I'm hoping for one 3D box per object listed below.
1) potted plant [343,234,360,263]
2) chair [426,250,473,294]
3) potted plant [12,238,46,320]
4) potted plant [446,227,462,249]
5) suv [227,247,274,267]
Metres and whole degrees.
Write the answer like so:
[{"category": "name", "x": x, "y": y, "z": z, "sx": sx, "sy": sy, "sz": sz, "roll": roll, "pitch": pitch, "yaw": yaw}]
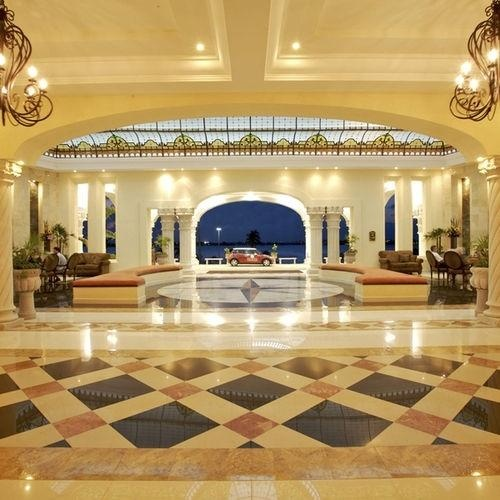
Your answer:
[{"category": "potted plant", "x": 3.439, "y": -0.031, "z": 14.956, "sx": 0.464, "sy": 0.986, "sz": 0.863, "roll": 1, "pitch": 6, "yaw": 15}, {"category": "chair", "x": 5.097, "y": 0.480, "z": 11.553, "sx": 1.160, "sy": 1.378, "sz": 1.057, "roll": -4, "pitch": 6, "yaw": -33}, {"category": "potted plant", "x": -3.568, "y": 0.459, "z": 7.069, "sx": 0.401, "sy": 1.226, "sz": 0.635, "roll": -3, "pitch": 6, "yaw": -26}, {"category": "potted plant", "x": 6.893, "y": -0.428, "z": 14.917, "sx": 0.417, "sy": 0.753, "sz": 1.164, "roll": 2, "pitch": 6, "yaw": 26}, {"category": "suv", "x": -0.051, "y": 0.298, "z": 19.646, "sx": 2.212, "sy": 0.733, "sz": 1.154, "roll": 2, "pitch": 6, "yaw": 22}]
